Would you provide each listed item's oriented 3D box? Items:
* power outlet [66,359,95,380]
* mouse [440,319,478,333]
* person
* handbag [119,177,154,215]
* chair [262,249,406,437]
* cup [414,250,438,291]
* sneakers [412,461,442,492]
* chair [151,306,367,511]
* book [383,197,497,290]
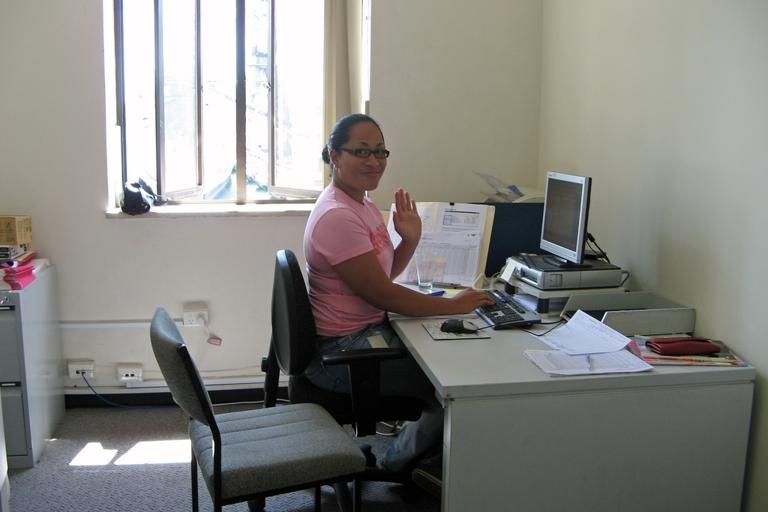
[{"bbox_3d":[-1.960,0.722,3.710,0.195,0.132,0.109,4,17,-4],"label":"power outlet"},{"bbox_3d":[0.338,0.306,2.576,0.133,0.044,0.072,1,7,-21],"label":"mouse"},{"bbox_3d":[0.052,0.253,2.799,0.897,1.793,0.707,1,8,18],"label":"person"},{"bbox_3d":[-1.582,-0.355,3.679,0.189,0.260,0.119,3,-7,-5],"label":"handbag"},{"bbox_3d":[-0.261,0.447,2.868,0.773,0.968,0.861,-2,5,-13],"label":"chair"},{"bbox_3d":[0.221,0.085,3.138,0.155,0.233,0.158,-1,-6,0],"label":"cup"},{"bbox_3d":[0.222,1.129,2.902,0.145,0.056,0.151,3,17,-15],"label":"sneakers"},{"bbox_3d":[-0.489,0.530,2.753,0.963,1.300,0.700,-4,13,-17],"label":"chair"},{"bbox_3d":[0.367,-0.062,3.138,0.508,0.499,0.136,7,-7,15],"label":"book"}]
